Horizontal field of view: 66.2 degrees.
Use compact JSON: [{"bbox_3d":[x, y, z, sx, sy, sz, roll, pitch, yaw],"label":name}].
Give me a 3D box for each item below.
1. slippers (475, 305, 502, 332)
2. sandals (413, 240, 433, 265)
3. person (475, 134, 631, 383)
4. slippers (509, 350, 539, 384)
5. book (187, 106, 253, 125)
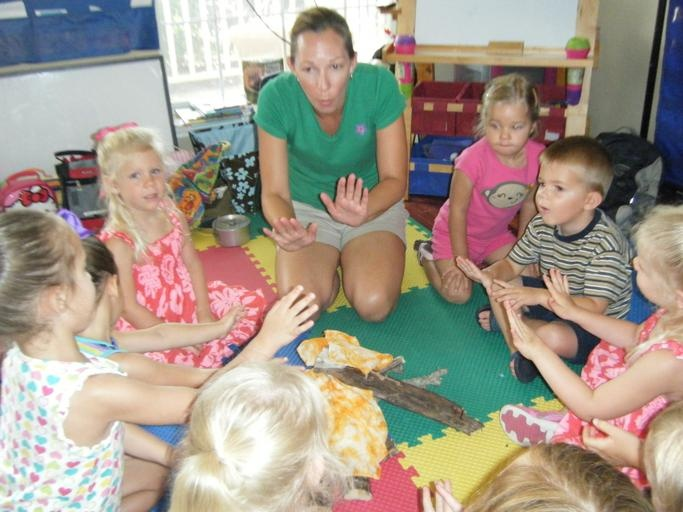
[{"bbox_3d":[0.655,0.276,2.319,0.115,0.074,0.043,3,13,39],"label":"slippers"},{"bbox_3d":[0.411,-0.025,2.693,0.045,0.068,0.143,-6,28,-2],"label":"sandals"},{"bbox_3d":[0.836,0.019,2.123,0.555,0.837,0.581,-12,42,-7],"label":"person"},{"bbox_3d":[0.689,0.422,2.002,0.093,0.125,0.029,-48,0,-20],"label":"slippers"},{"bbox_3d":[-0.920,-1.092,4.044,0.506,0.114,0.189,-3,22,-2],"label":"book"}]
